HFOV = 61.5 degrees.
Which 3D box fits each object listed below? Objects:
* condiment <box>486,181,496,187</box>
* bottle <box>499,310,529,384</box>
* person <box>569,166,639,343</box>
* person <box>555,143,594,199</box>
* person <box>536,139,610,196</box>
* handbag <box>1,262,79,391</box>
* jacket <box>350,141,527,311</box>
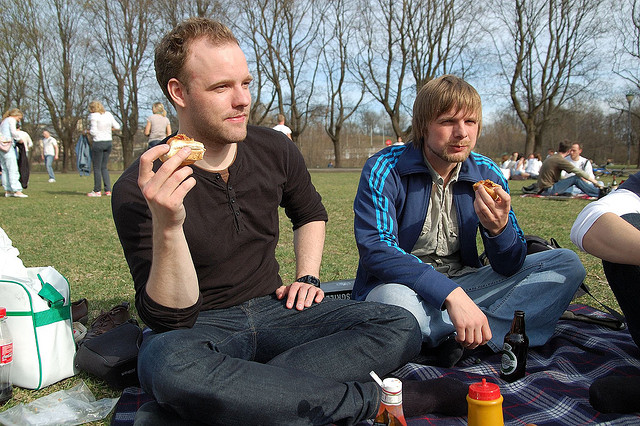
[{"bbox_3d":[1.268,-0.220,4.018,0.049,0.023,0.064,6,6,12],"label":"condiment"},{"bbox_3d":[1.352,0.915,3.746,0.219,0.493,0.180,-2,9,-4],"label":"bottle"},{"bbox_3d":[1.975,0.305,3.706,0.447,1.172,0.396,4,10,29],"label":"person"},{"bbox_3d":[7.089,-1.294,15.074,0.976,1.238,1.027,-6,17,17],"label":"person"},{"bbox_3d":[6.627,-1.147,13.828,1.706,1.282,1.128,8,14,21],"label":"person"},{"bbox_3d":[-1.967,0.759,3.765,0.469,0.840,0.482,-5,9,-25],"label":"handbag"},{"bbox_3d":[0.951,0.119,4.259,1.428,1.437,1.185,1,3,-9],"label":"jacket"}]
